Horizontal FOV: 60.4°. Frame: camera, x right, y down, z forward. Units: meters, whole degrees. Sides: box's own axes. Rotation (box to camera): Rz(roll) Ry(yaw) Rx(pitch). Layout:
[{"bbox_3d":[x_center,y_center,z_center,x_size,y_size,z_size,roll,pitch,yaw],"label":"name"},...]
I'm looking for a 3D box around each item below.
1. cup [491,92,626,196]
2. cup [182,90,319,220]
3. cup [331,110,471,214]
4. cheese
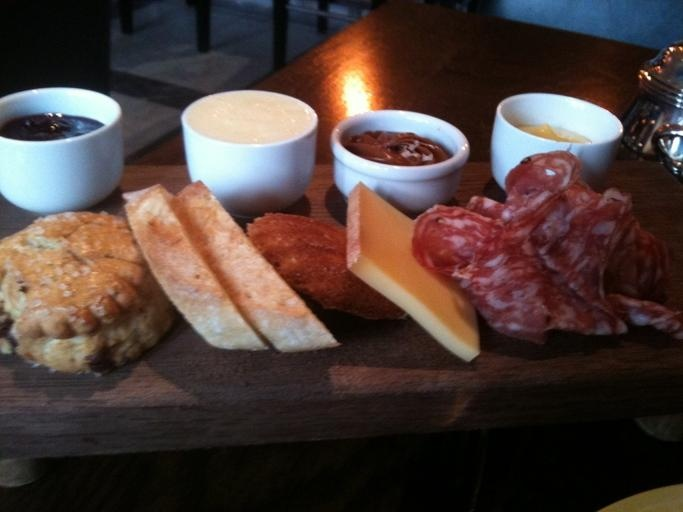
[{"bbox_3d":[0.477,-0.271,1.442,0.317,0.167,0.265,10,37,8],"label":"cup"},{"bbox_3d":[-0.206,-0.256,1.340,0.339,0.201,0.297,-3,35,-11],"label":"cup"},{"bbox_3d":[0.139,-0.257,1.500,0.522,0.225,0.329,-1,25,2],"label":"cup"},{"bbox_3d":[0.112,0.019,1.189,0.334,0.281,0.376,3,24,-3],"label":"cheese"}]
